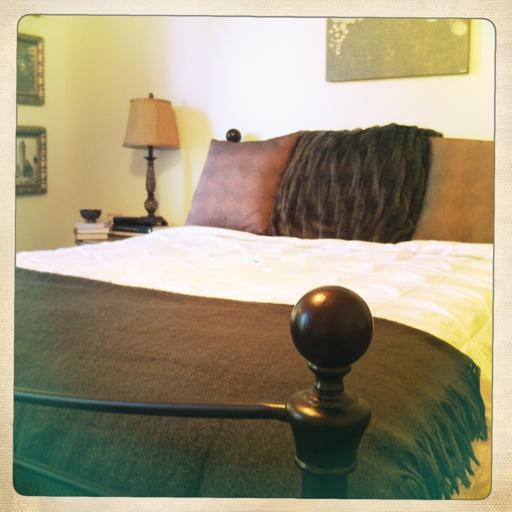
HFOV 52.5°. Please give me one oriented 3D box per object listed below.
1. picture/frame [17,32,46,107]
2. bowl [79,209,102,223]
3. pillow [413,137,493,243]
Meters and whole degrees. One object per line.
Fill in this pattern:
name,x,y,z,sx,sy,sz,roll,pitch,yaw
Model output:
picture/frame,-1.213,-0.991,2.767,0.066,0.373,0.185,2,8,19
bowl,-0.827,-0.197,2.623,0.079,0.060,0.091,0,-3,4
pillow,0.634,-0.196,1.617,0.308,0.394,0.093,1,-14,28
